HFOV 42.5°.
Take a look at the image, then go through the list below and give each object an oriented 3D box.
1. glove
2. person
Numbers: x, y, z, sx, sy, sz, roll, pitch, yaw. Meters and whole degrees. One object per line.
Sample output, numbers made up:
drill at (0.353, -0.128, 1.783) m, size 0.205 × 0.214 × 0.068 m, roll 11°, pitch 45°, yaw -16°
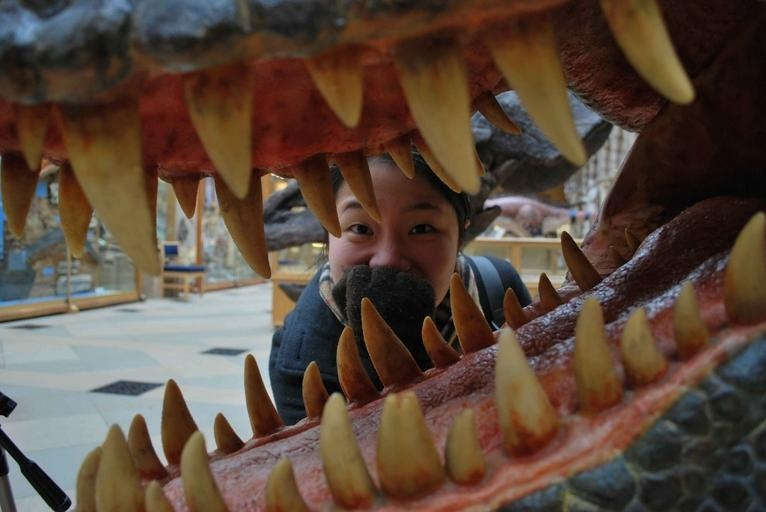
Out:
glove at (0.024, 0.178, 2.752) m, size 0.248 × 0.290 × 0.180 m, roll -5°, pitch 0°, yaw 0°
person at (0.040, 0.013, 3.024) m, size 0.569 × 0.469 × 0.856 m, roll -31°, pitch 15°, yaw 15°
